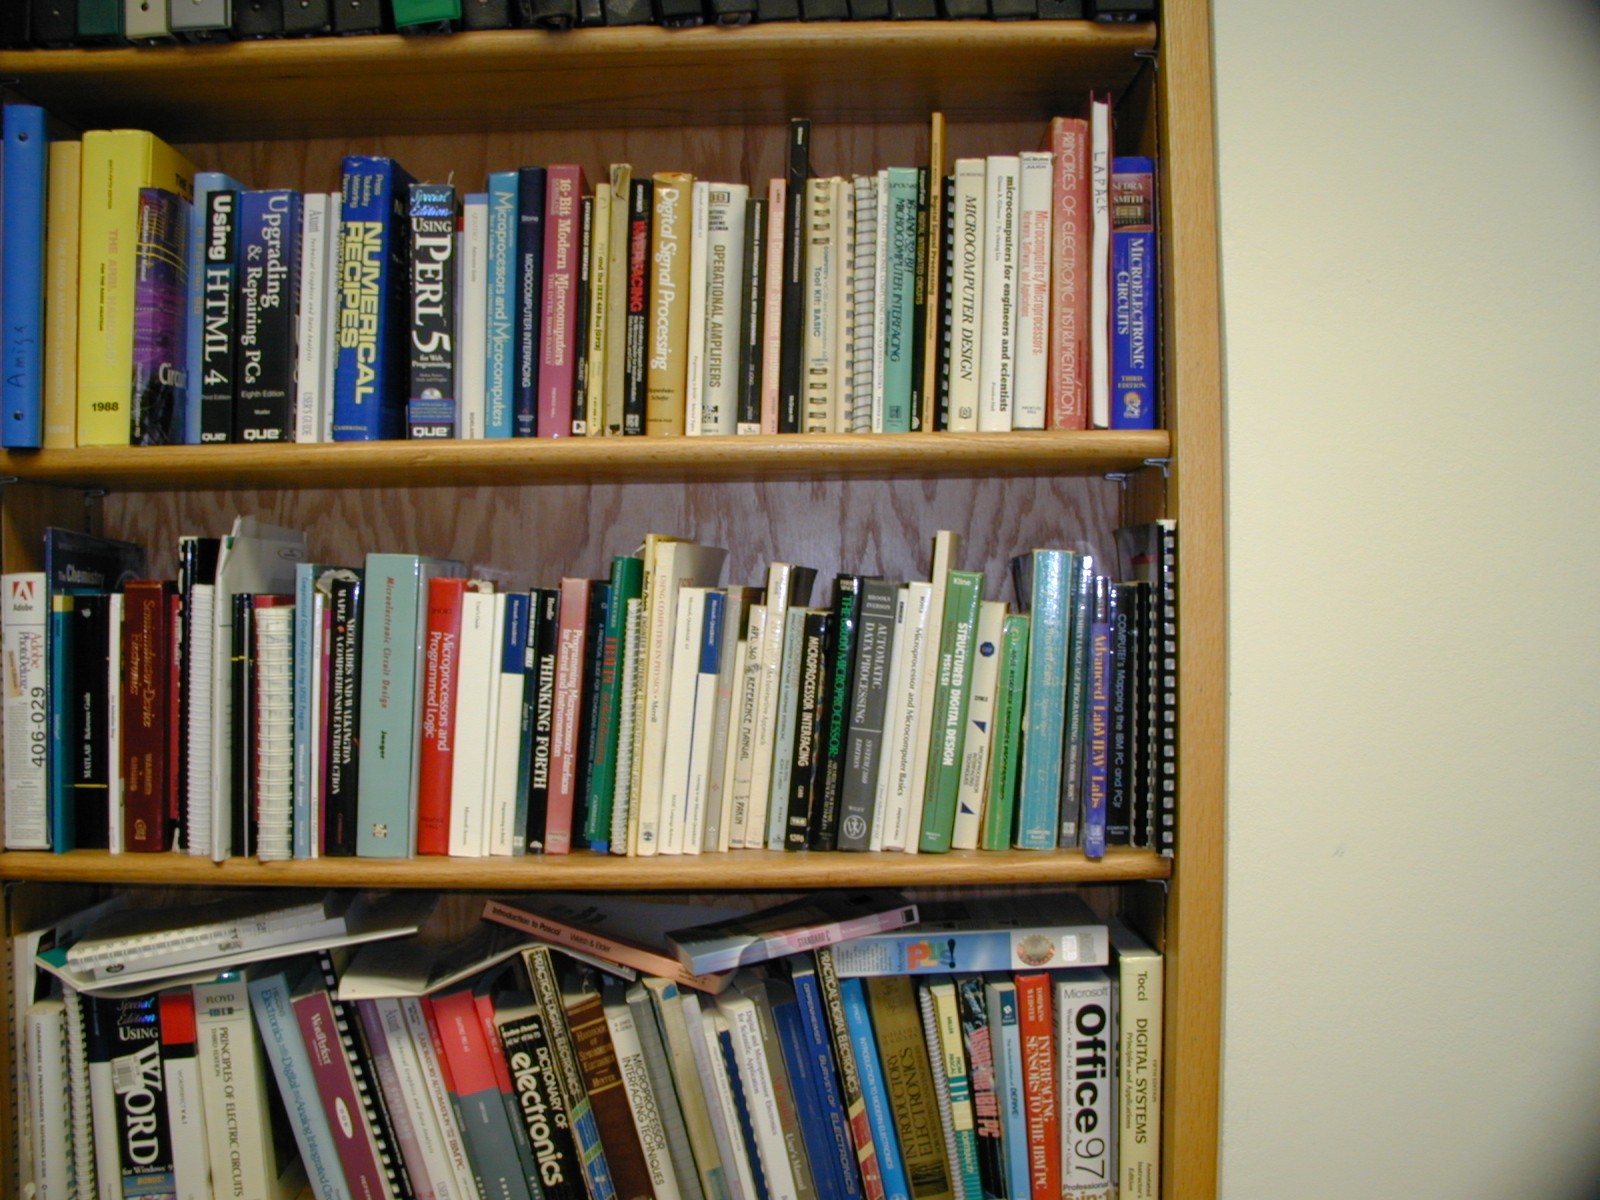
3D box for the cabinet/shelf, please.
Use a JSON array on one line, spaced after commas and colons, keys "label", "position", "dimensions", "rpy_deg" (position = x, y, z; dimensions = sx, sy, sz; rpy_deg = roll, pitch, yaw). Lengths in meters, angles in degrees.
[{"label": "cabinet/shelf", "position": [-0.245, 0.026, 2.136], "dimensions": [1.485, 1.524, 0.502], "rpy_deg": [0, 0, 2]}]
